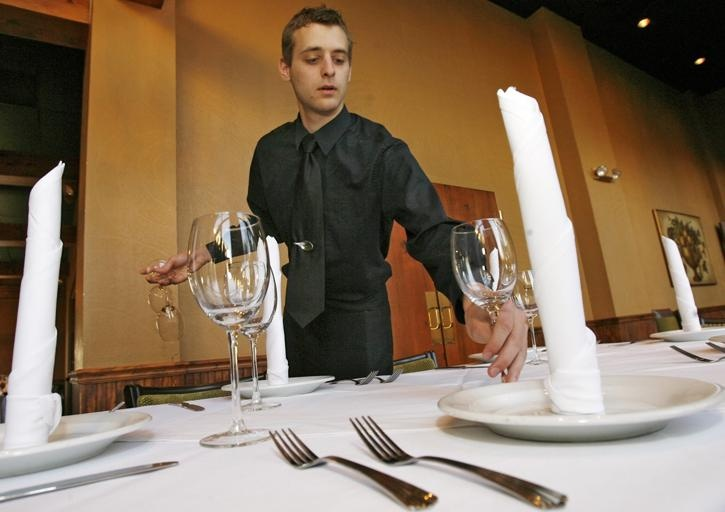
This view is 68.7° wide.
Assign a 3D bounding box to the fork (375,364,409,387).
[{"bbox_3d":[0.045,0.322,1.401,0.029,0.036,0.196,28,-31,-24],"label":"fork"}]

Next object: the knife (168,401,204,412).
[{"bbox_3d":[-0.386,0.333,1.167,0.033,0.007,0.124,3,-2,-45],"label":"knife"}]

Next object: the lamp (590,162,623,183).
[{"bbox_3d":[2.437,-0.858,5.393,0.194,0.150,0.289,-1,8,-7],"label":"lamp"}]
